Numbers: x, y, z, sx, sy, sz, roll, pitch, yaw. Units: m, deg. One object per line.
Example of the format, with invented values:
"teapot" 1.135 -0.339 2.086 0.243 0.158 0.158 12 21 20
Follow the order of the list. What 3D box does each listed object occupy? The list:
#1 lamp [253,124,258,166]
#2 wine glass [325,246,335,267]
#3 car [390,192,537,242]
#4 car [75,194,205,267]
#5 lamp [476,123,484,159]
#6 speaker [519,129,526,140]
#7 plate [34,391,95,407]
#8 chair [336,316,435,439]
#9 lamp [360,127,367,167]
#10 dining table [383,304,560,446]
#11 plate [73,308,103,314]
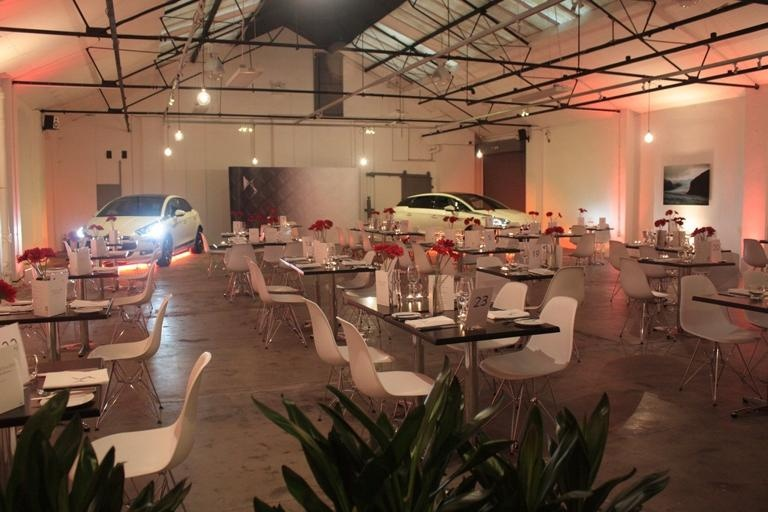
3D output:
"lamp" -4.280 -3.639 17.873 0.172 1.252 0.267 0 5 15
"wine glass" -0.696 -0.012 7.014 0.107 0.249 0.191 -2 5 -7
"car" 2.054 -1.264 15.684 1.806 1.180 3.283 -1 1 -40
"car" -5.503 -0.763 12.127 1.754 1.223 3.238 -1 1 9
"lamp" 3.428 -4.151 19.713 0.395 1.166 2.297 -1 5 11
"speaker" 4.761 -4.179 18.726 0.295 0.376 0.547 1 6 24
"plate" -1.756 0.786 2.994 0.215 0.034 0.220 2 5 -15
"chair" -0.019 0.837 4.302 0.694 0.983 0.662 -6 7 -22
"lamp" -0.731 -3.775 18.888 0.300 1.286 0.786 -2 5 -3
"dining table" 0.632 0.791 4.431 0.913 0.918 0.909 -4 6 -31
"plate" -2.655 0.484 4.895 0.259 0.021 0.093 -2 5 0
